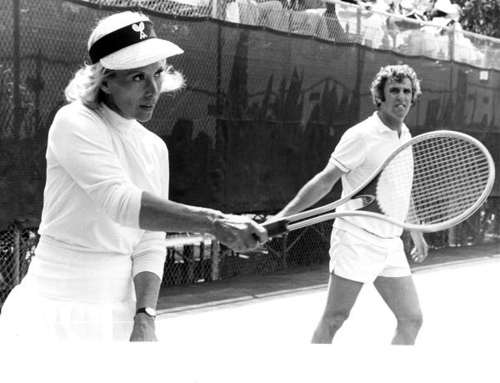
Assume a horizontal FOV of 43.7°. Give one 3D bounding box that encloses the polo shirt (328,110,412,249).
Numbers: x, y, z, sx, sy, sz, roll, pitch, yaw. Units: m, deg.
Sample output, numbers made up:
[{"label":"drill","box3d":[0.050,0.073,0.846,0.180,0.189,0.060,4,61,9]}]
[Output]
[{"label":"polo shirt","box3d":[0.763,-0.104,3.953,0.514,0.923,0.308,0,-9,5]}]
